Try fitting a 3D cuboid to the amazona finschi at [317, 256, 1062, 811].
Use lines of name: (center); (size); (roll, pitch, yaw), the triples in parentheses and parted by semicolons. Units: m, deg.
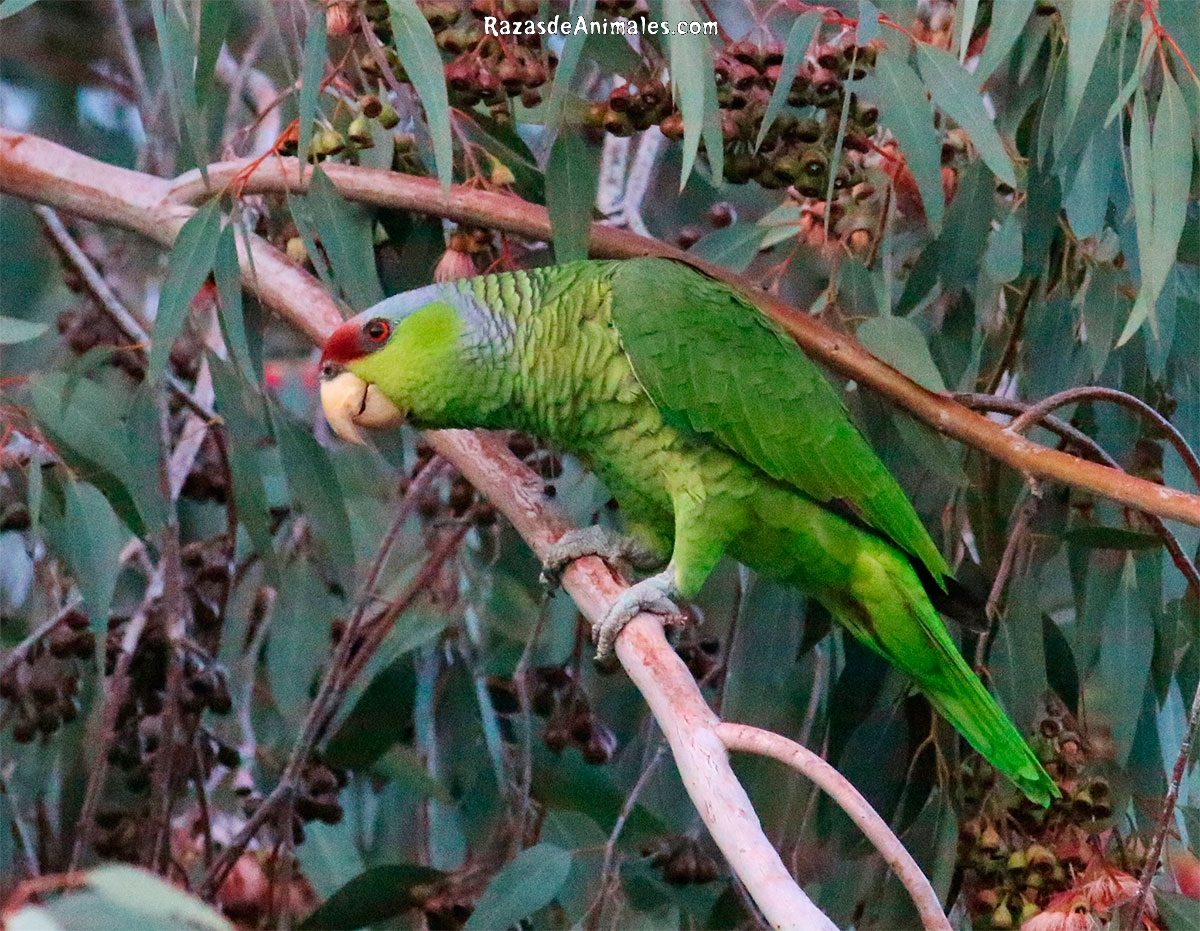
amazona finschi: (0.174, 0.003, 2.992); (1.126, 0.704, 0.428); (8, 4, -17)
